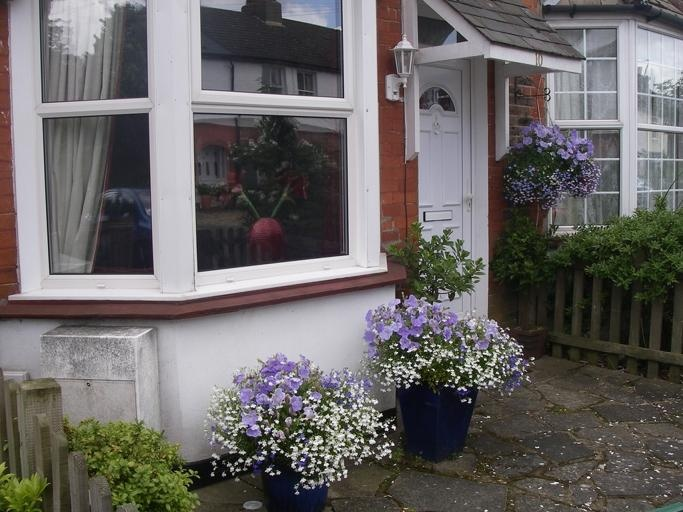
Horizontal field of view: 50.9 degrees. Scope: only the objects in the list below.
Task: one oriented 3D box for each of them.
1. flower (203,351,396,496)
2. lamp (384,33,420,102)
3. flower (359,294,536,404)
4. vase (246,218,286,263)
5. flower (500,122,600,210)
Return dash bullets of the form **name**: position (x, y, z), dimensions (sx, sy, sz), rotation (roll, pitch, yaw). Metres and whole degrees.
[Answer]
- **flower**: position (-0.267, 0.999, 4.571), dimensions (0.932, 0.750, 1.020), rotation (3, 4, 13)
- **lamp**: position (0.508, -1.571, 5.993), dimensions (0.256, 0.549, 0.224), rotation (0, 11, -1)
- **flower**: position (0.814, 0.667, 5.263), dimensions (0.963, 0.580, 0.777), rotation (-7, 8, 1)
- **vase**: position (-0.518, -0.130, 5.229), dimensions (0.290, 0.463, 0.263), rotation (2, 9, 5)
- **flower**: position (2.075, -0.877, 7.095), dimensions (0.913, 0.878, 0.474), rotation (4, 13, 18)
